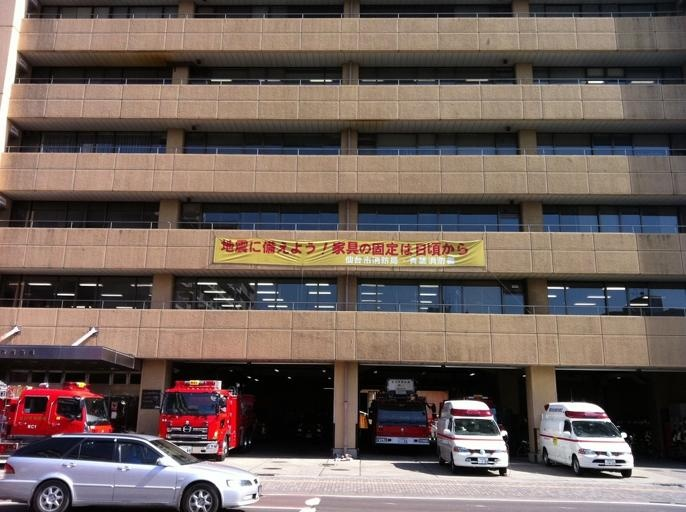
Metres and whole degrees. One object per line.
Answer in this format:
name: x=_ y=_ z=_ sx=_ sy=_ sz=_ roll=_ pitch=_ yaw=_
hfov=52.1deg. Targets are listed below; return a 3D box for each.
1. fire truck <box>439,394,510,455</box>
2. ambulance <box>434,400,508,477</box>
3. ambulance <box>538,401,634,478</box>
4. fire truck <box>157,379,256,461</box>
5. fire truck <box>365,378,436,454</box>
fire truck: x=6.264 y=9.019 z=34.840 sx=2.427 sy=1.774 sz=3.895 roll=1 pitch=-17 yaw=0
ambulance: x=6.229 y=8.675 z=34.322 sx=3.597 sy=2.693 sz=6.864 roll=0 pitch=-9 yaw=4
ambulance: x=11.852 y=9.014 z=34.773 sx=5.035 sy=3.305 sz=3.388 roll=0 pitch=-8 yaw=6
fire truck: x=-7.039 y=8.400 z=36.628 sx=4.838 sy=3.770 sz=11.004 roll=0 pitch=-4 yaw=1
fire truck: x=3.465 y=9.402 z=41.519 sx=3.922 sy=4.068 sz=2.978 roll=0 pitch=-9 yaw=4
